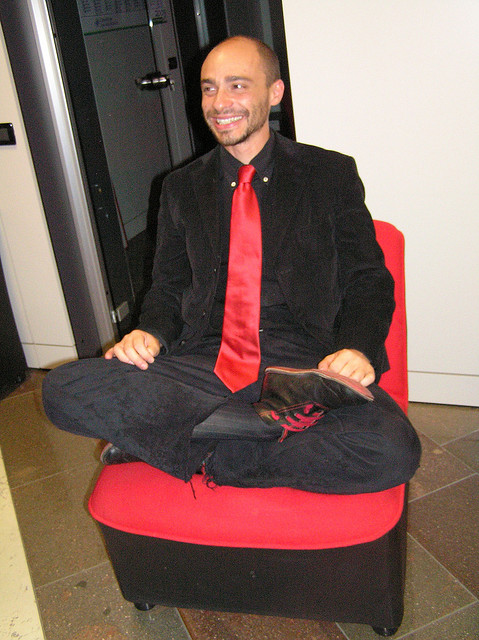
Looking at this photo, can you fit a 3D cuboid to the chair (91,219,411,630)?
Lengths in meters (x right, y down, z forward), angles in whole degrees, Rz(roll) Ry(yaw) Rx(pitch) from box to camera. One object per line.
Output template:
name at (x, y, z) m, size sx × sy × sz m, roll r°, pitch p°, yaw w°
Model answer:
chair at (0.010, 0.209, 1.308) m, size 0.713 × 0.703 × 0.704 m, roll 0°, pitch 30°, yaw 14°

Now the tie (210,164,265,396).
tie at (-0.005, -0.101, 1.240) m, size 0.133 × 0.511 × 0.036 m, roll -1°, pitch 1°, yaw -34°

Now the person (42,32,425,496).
person at (0.017, -0.155, 1.270) m, size 0.812 × 0.920 × 0.615 m, roll 3°, pitch 13°, yaw 25°
